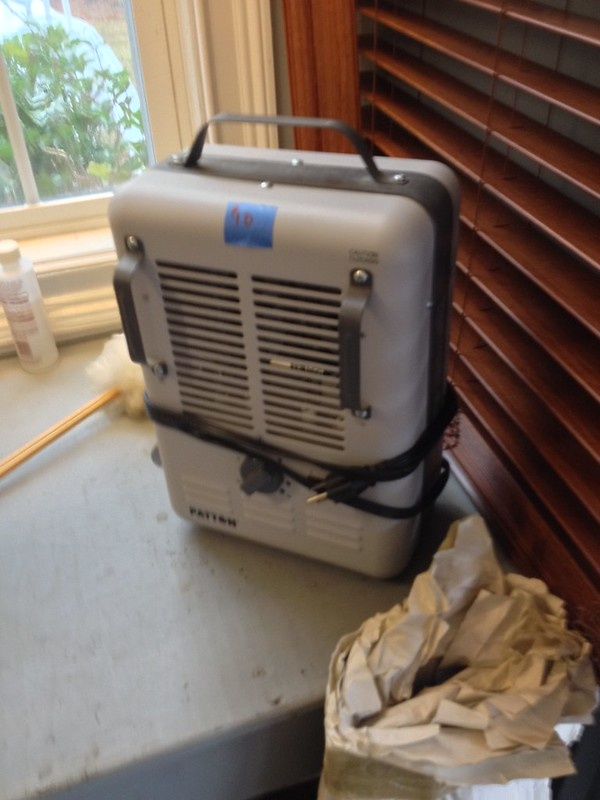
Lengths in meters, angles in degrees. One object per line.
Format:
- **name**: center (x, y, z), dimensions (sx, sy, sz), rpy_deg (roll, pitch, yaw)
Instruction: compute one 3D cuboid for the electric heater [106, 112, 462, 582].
- **electric heater**: center (-0.006, -0.037, 0.887), dimensions (0.413, 0.517, 0.266), rpy_deg (14, 38, 22)
